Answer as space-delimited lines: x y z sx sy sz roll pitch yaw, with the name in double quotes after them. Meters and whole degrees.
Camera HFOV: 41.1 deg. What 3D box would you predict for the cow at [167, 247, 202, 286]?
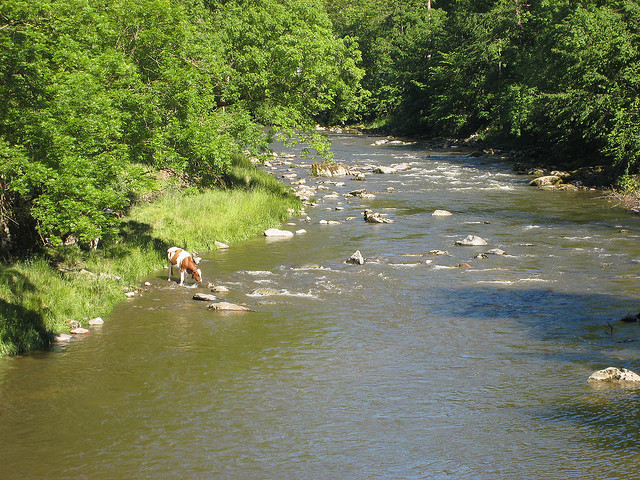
-5.509 1.024 34.191 1.260 1.355 2.000 -5 14 -15 "cow"
